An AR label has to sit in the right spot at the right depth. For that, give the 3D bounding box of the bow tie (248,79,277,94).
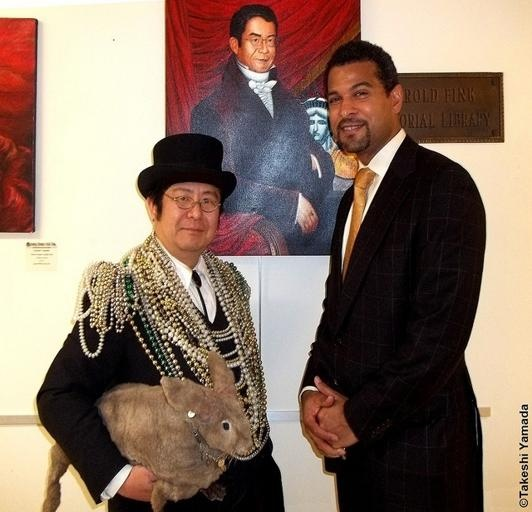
[{"bbox_3d":[-0.014,-0.793,2.809,0.124,0.058,0.051,2,41,6],"label":"bow tie"}]

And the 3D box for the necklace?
[{"bbox_3d":[-0.341,0.333,2.305,0.624,0.852,0.226,-17,-4,-32],"label":"necklace"}]
